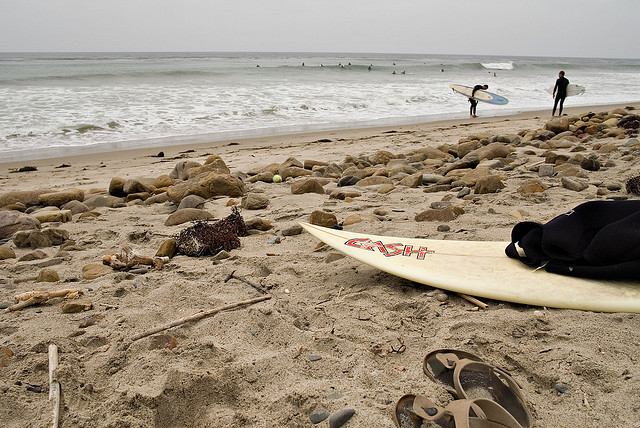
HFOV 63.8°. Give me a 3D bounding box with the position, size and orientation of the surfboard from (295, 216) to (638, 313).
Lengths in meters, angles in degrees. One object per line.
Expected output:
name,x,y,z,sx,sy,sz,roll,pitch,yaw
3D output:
surfboard,1.040,0.300,3.661,2.427,0.183,0.635,4,12,19

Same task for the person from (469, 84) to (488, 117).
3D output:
person,4.715,-3.368,15.339,0.441,0.880,1.581,6,22,15

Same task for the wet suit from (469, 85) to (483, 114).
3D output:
wet suit,4.667,-3.410,15.361,0.331,0.753,1.173,6,22,15
